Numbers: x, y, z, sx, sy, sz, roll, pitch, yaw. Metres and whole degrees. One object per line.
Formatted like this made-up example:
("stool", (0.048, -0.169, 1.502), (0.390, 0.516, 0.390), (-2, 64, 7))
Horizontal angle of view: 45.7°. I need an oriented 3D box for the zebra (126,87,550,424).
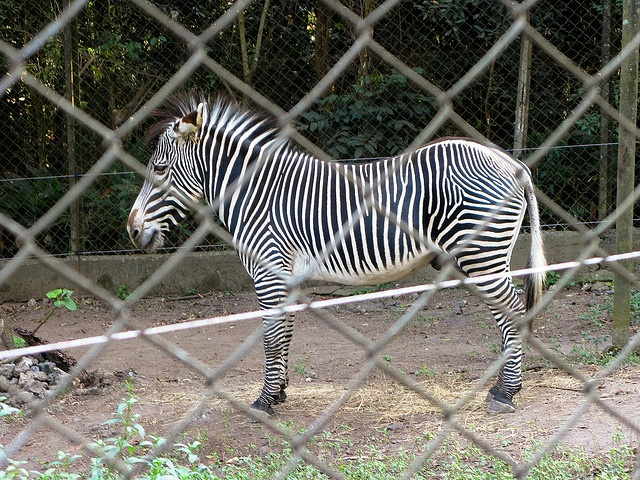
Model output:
("zebra", (0.097, 0.115, 5.178), (2.800, 2.005, 0.797), (1, 9, 6))
